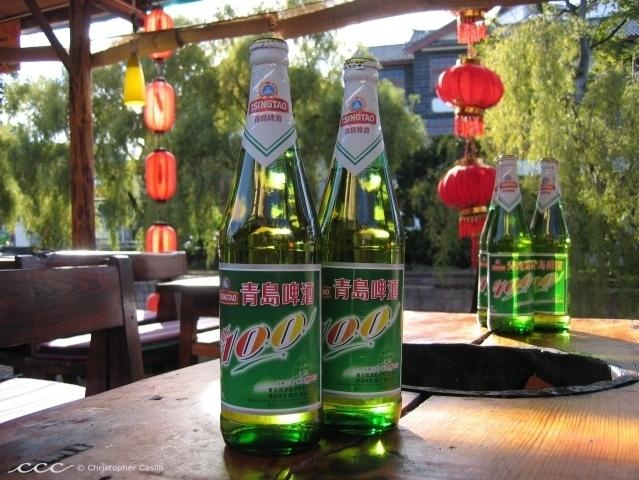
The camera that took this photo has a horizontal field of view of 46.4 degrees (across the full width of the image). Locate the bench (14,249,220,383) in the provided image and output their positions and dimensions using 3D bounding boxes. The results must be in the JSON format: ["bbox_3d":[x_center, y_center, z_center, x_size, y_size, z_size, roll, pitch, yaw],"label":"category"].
[{"bbox_3d":[-1.016,0.400,3.713,0.374,0.589,0.878,2,1,21],"label":"bench"}]

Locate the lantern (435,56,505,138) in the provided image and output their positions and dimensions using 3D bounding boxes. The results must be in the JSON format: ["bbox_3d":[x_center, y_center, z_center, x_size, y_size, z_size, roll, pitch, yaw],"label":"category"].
[{"bbox_3d":[1.049,-0.928,4.929,0.453,0.537,0.453,-4,9,-25],"label":"lantern"}]

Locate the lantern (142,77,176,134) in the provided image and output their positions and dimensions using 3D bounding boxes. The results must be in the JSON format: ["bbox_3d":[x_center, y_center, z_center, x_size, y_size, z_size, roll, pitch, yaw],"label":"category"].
[{"bbox_3d":[-1.461,-1.232,6.793,0.268,0.520,0.372,-1,1,-14],"label":"lantern"}]

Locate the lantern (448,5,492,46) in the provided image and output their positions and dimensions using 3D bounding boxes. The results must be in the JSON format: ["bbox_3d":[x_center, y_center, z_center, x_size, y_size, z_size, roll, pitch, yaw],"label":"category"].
[{"bbox_3d":[0.974,-1.372,4.808,0.174,0.196,0.184,-6,11,-15],"label":"lantern"}]

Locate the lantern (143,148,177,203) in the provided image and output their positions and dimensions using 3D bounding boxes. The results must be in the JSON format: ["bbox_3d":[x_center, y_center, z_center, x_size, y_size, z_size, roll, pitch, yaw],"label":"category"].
[{"bbox_3d":[-1.491,-0.600,6.974,0.268,0.490,0.238,-1,1,-15],"label":"lantern"}]

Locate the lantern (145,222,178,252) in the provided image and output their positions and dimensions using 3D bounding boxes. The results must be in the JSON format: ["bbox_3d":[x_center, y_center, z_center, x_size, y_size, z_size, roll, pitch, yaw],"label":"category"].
[{"bbox_3d":[-1.516,-0.025,7.062,0.267,0.257,0.336,0,1,20],"label":"lantern"}]

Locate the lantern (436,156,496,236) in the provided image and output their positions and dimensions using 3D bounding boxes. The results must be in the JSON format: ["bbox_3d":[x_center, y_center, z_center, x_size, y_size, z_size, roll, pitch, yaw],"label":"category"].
[{"bbox_3d":[1.039,-0.290,5.163,0.484,0.723,0.515,0,1,2],"label":"lantern"}]
